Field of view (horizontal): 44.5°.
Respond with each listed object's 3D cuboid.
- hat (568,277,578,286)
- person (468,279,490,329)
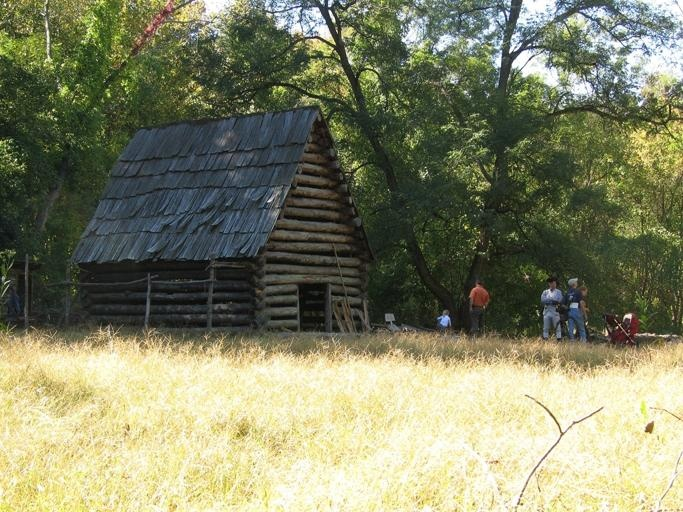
[{"bbox_3d":[7.115,0.796,25.900,0.459,0.175,0.324,-13,5,-43],"label":"hat"},{"bbox_3d":[4.259,1.659,26.183,0.524,1.963,1.553,4,12,9],"label":"person"}]
